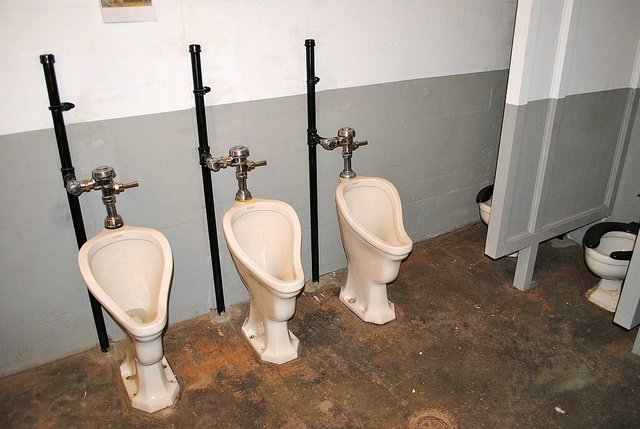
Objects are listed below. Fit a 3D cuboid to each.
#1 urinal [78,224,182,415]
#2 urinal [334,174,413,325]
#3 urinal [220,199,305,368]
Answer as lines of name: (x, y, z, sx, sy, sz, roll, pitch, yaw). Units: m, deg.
urinal: (-1.212, 0.728, 3.000, 0.557, 1.001, 0.922, -15, 39, -34)
urinal: (0.422, 0.312, 3.541, 0.561, 1.013, 0.792, -12, 24, -27)
urinal: (-0.374, 0.433, 3.272, 0.674, 1.140, 0.681, -7, 28, -22)
